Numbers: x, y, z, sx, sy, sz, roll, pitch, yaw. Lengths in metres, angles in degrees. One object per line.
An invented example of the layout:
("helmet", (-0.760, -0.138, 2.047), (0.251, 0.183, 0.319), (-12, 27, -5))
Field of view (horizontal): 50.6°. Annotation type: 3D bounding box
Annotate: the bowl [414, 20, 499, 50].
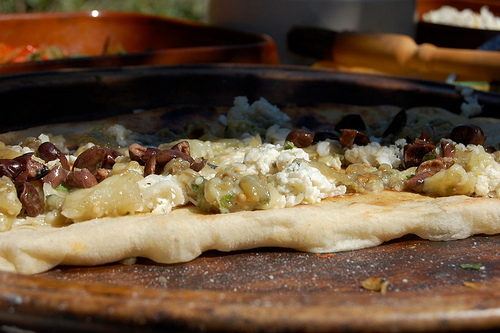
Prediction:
("bowl", (1.454, -0.928, 3.798), (0.120, 0.200, 0.733), (-11, 28, -23))
